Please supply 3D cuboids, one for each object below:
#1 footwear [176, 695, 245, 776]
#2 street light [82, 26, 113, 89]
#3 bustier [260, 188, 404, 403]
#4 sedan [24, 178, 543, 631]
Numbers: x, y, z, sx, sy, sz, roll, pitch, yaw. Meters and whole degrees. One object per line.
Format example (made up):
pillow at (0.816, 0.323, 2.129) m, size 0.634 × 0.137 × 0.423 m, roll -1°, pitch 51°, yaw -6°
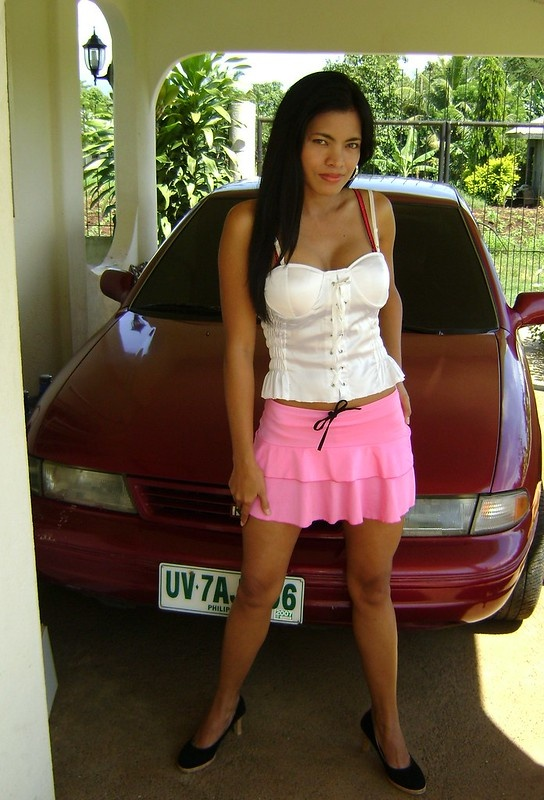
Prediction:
footwear at (-0.150, 0.789, 1.417) m, size 0.070 × 0.094 × 0.213 m, roll 4°, pitch 4°, yaw 30°
street light at (-2.135, -4.189, 7.228) m, size 0.310 × 0.605 × 0.250 m, roll -19°, pitch 36°, yaw -38°
bustier at (0.106, -0.129, 1.062) m, size 0.237 × 0.277 × 0.139 m, roll 2°, pitch 5°, yaw 0°
sedan at (0.183, -0.145, 2.264) m, size 1.145 × 0.897 × 1.983 m, roll 2°, pitch 13°, yaw 11°
